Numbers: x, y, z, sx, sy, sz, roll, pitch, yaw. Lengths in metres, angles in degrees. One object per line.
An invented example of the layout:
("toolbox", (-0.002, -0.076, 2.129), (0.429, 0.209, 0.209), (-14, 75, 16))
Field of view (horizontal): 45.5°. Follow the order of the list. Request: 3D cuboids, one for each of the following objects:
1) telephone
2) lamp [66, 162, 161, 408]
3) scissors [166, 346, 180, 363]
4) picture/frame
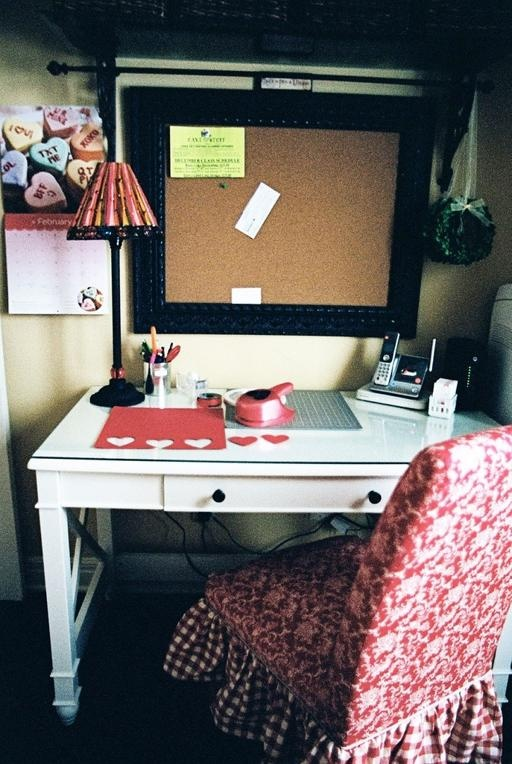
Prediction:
("telephone", (0.390, -0.037, 1.656), (0.179, 0.193, 0.172), (8, 6, 25))
("lamp", (-0.354, -0.239, 1.541), (0.207, 0.593, 0.249), (-2, 17, -14))
("scissors", (-0.215, -0.081, 1.629), (0.011, 0.021, 0.077), (9, 45, 22))
("picture/frame", (0.047, -0.483, 1.637), (0.640, 0.556, 0.051), (0, 20, -2))
